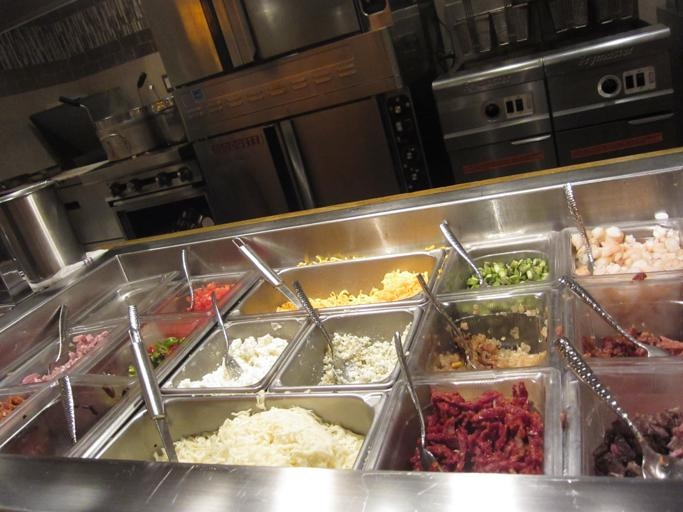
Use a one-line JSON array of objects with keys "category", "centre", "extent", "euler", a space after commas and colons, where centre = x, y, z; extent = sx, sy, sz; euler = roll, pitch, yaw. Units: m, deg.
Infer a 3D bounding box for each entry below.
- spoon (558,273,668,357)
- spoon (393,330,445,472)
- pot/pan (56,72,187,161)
[{"category": "spoon", "centre": [0.772, 0.131, 1.255], "extent": [0.104, 0.074, 0.559], "euler": [15, 23, 34]}, {"category": "spoon", "centre": [0.151, 0.289, 1.062], "extent": [0.063, 0.355, 0.052], "euler": [-20, -16, 23]}, {"category": "pot/pan", "centre": [-1.976, -1.304, 4.238], "extent": [0.973, 0.651, 0.588], "euler": [-23, 15, -2]}]
